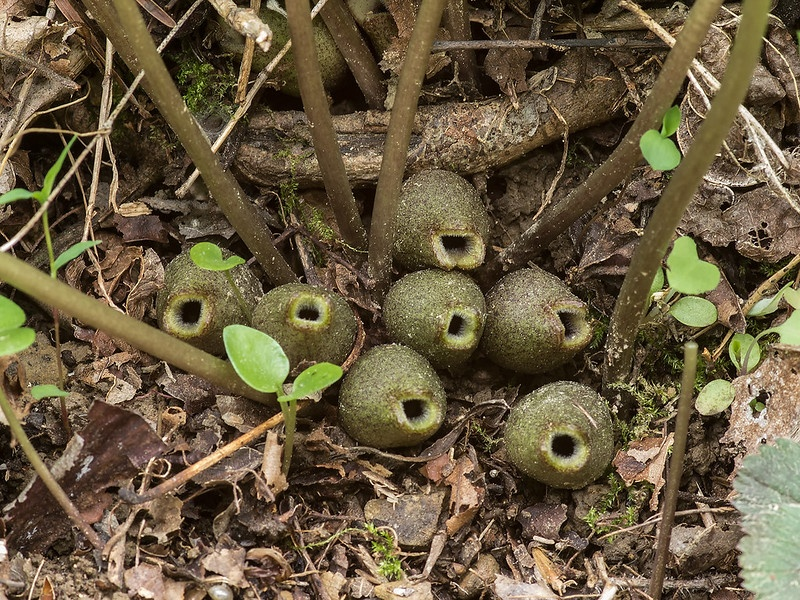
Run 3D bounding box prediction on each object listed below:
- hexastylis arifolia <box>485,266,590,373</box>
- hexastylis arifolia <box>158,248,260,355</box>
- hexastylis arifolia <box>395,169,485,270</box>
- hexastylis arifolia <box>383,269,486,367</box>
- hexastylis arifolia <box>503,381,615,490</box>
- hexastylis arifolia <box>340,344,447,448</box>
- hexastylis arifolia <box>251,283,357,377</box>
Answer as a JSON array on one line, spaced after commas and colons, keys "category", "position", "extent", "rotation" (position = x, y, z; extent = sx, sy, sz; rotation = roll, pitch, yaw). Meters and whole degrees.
[{"category": "hexastylis arifolia", "position": [0.596, 0.086, 3.270], "extent": [0.380, 0.436, 0.418], "rotation": [-23, 33, -35]}, {"category": "hexastylis arifolia", "position": [-0.803, -0.016, 3.191], "extent": [0.404, 0.254, 0.393], "rotation": [23, 80, 5]}, {"category": "hexastylis arifolia", "position": [0.189, -0.310, 3.373], "extent": [0.403, 0.435, 0.432], "rotation": [10, 79, 3]}, {"category": "hexastylis arifolia", "position": [0.056, 0.107, 3.248], "extent": [0.318, 0.363, 0.414], "rotation": [-9, 102, 22]}, {"category": "hexastylis arifolia", "position": [0.639, 0.520, 3.005], "extent": [0.412, 0.139, 0.446], "rotation": [23, 103, 1]}, {"category": "hexastylis arifolia", "position": [-0.047, 0.352, 3.109], "extent": [0.420, 0.271, 0.437], "rotation": [2, 31, -26]}, {"category": "hexastylis arifolia", "position": [-0.392, 0.174, 3.108], "extent": [0.431, 0.400, 0.460], "rotation": [3, 37, -13]}]
